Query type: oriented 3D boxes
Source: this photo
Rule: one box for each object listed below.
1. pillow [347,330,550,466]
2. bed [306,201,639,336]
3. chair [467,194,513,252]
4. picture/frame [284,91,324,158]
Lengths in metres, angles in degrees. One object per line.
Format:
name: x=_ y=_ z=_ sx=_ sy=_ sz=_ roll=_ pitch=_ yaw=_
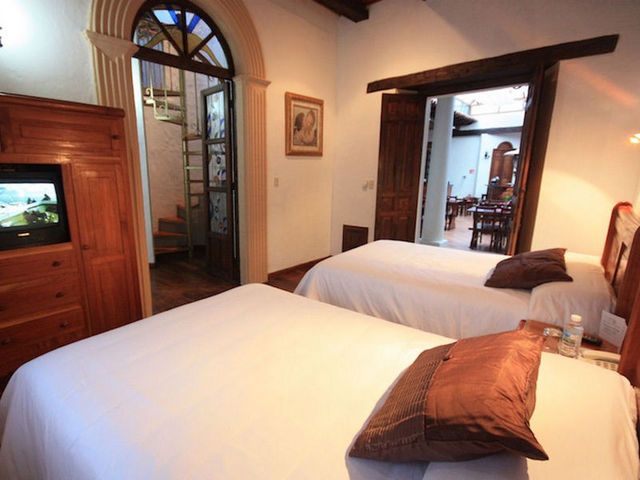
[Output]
pillow: x=0.566 y=0.684 z=1.934 sx=0.586 sy=0.283 sz=0.733 roll=2 pitch=14 yaw=33
bed: x=1.030 y=0.361 z=3.355 sx=1.621 sy=0.527 sz=1.103 roll=13 pitch=23 yaw=31
chair: x=2.743 y=-0.298 z=7.357 sx=0.778 sy=0.814 sz=1.198 roll=5 pitch=15 yaw=24
picture/frame: x=-0.219 y=-1.430 z=5.424 sx=0.083 sy=0.729 sz=0.846 roll=9 pitch=15 yaw=32
